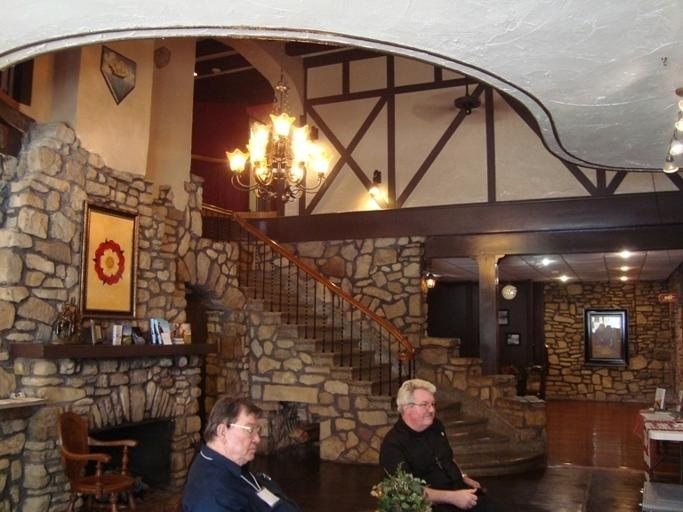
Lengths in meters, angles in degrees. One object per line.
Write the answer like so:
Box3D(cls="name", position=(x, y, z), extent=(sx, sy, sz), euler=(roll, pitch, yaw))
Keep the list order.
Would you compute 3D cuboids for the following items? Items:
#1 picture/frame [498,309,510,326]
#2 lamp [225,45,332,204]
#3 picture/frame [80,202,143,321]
Box3D(cls="picture/frame", position=(3.752, 1.431, 12.578), extent=(0.219, 0.357, 0.054), euler=(-7, -11, 29))
Box3D(cls="lamp", position=(-0.704, -1.371, 6.414), extent=(1.130, 1.472, 1.157), euler=(3, -3, -39))
Box3D(cls="picture/frame", position=(-2.309, 0.074, 5.533), extent=(0.162, 1.076, 0.702), euler=(-4, -10, 13))
